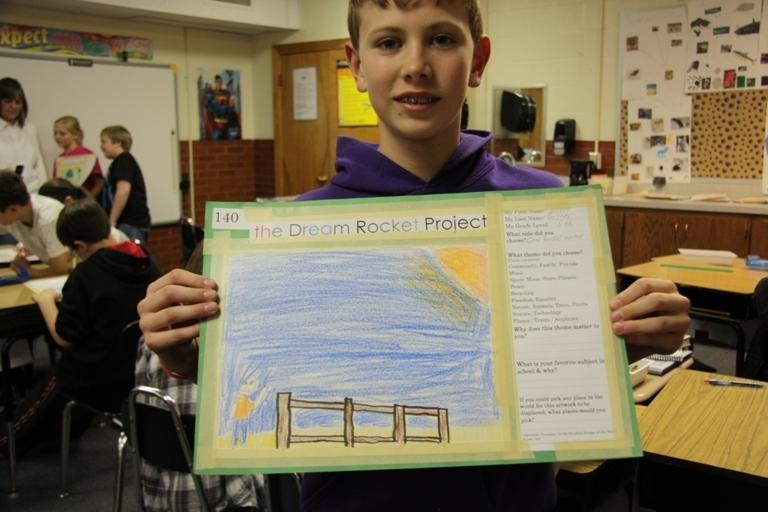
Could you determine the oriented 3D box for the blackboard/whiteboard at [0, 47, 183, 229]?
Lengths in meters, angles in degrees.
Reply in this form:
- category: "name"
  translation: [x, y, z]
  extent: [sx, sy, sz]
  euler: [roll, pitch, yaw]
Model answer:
- category: "blackboard/whiteboard"
  translation: [-2.568, -1.040, 5.115]
  extent: [1.813, 1.823, 0.074]
  euler: [-4, 5, -41]
